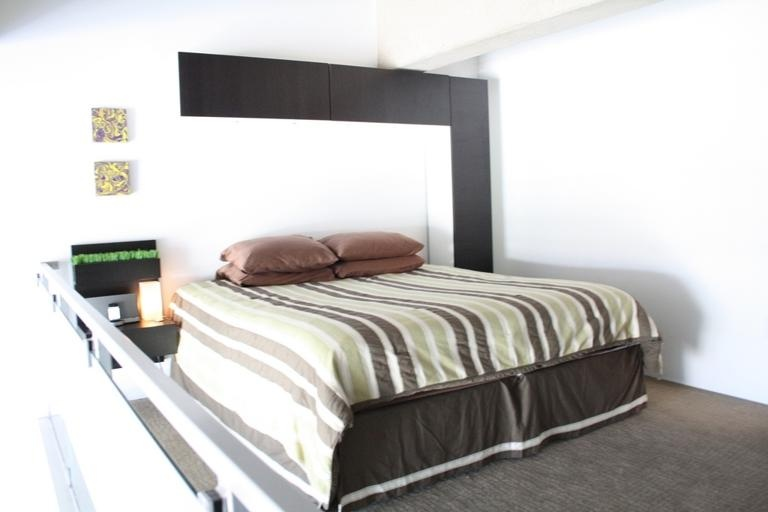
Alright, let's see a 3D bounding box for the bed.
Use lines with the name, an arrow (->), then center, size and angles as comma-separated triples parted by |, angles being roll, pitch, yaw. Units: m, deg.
bed -> 0.331, 0.717, 3.531 | 1.958, 0.552, 1.895 | -7, 5, -32
